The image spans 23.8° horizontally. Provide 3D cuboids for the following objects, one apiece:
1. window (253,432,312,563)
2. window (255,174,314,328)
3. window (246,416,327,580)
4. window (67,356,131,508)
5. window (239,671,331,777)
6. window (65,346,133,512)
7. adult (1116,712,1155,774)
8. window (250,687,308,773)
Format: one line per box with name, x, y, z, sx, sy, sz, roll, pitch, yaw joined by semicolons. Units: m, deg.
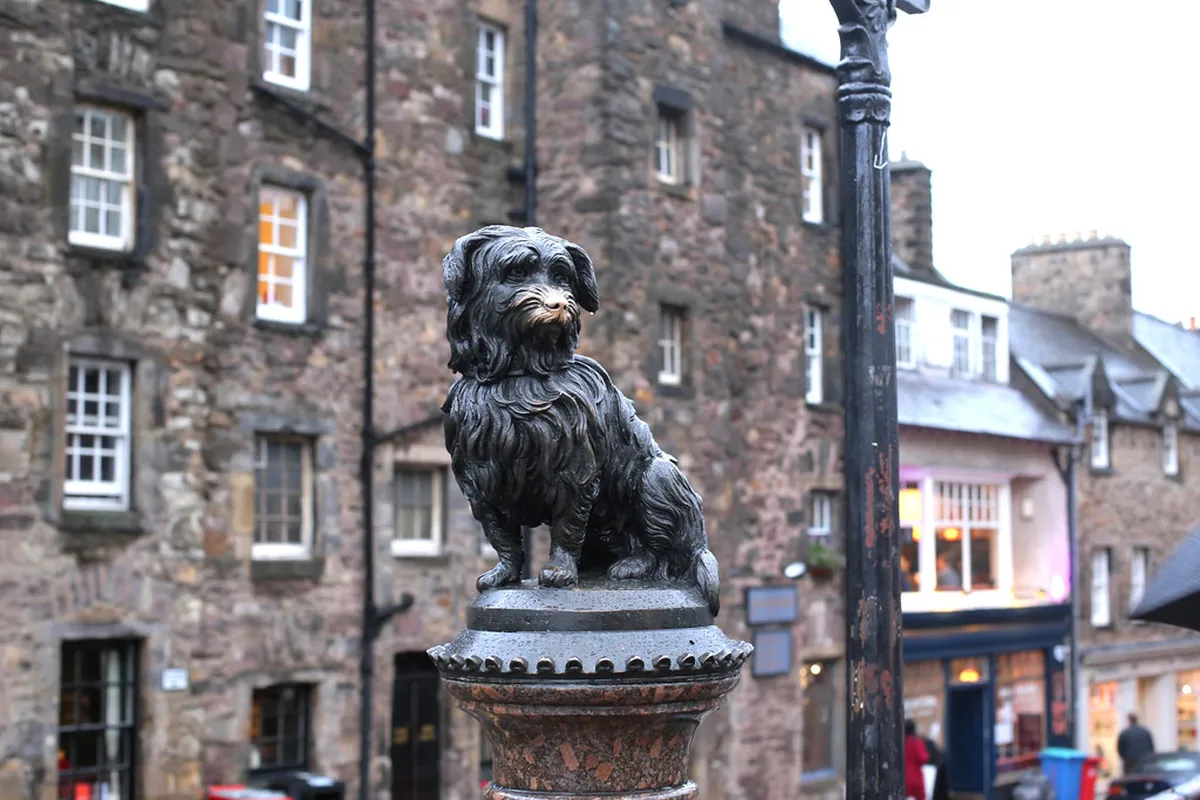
window;-4.867;1.419;42.207;0.856;2.028;0.159;0;-28;-7
window;-4.856;-2.186;42.368;0.799;1.974;0.305;4;-11;-37
window;-4.803;1.418;42.215;0.857;1.917;0.156;2;14;2
window;-7.381;0.425;40.765;0.927;2.145;0.284;4;-26;-10
window;-4.828;4.782;41.889;1.406;1.678;0.162;6;-10;-44
window;-7.409;0.328;40.705;0.930;2.201;0.250;2;25;-9
adult;9.474;6.284;50.674;0.589;1.662;0.502;-4;29;2
window;-4.909;4.872;41.939;0.113;1.382;1.127;-5;-9;40
